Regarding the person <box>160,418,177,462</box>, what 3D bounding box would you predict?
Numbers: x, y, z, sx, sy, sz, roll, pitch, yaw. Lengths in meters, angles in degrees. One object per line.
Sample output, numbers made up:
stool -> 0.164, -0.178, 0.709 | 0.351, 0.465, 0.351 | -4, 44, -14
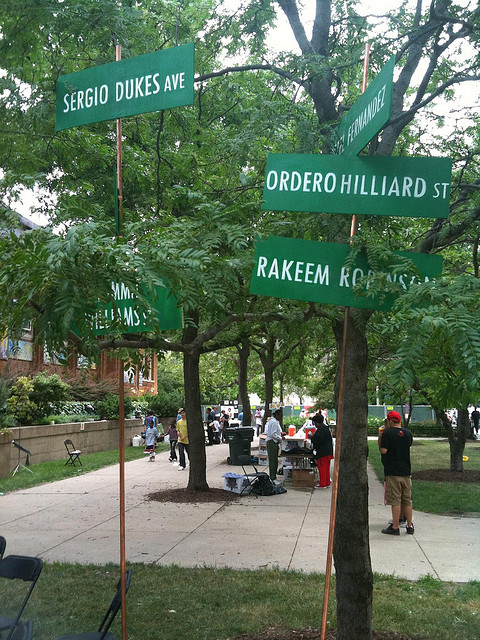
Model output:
person -> -2.586, 4.623, 23.697 | 0.351, 1.622, 1.687 | 0, -3, -6

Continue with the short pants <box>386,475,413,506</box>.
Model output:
short pants -> 2.575, 2.765, 10.084 | 0.388, 0.588, 0.205 | 9, -11, -32

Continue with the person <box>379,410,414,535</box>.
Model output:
person -> 2.609, 2.524, 10.324 | 0.541, 2.007, 0.879 | -1, -3, 16
